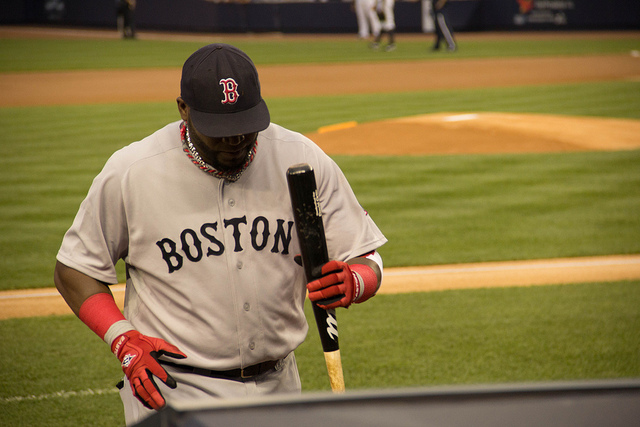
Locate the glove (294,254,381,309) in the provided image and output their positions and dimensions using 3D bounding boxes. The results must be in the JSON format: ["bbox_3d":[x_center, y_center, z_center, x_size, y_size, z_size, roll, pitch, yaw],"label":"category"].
[{"bbox_3d":[0.167,0.356,4.573,0.260,0.202,0.519,18,21,29],"label":"glove"}]

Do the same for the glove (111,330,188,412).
[{"bbox_3d":[-0.928,0.830,4.334,0.333,0.124,0.428,-31,68,-22],"label":"glove"}]
